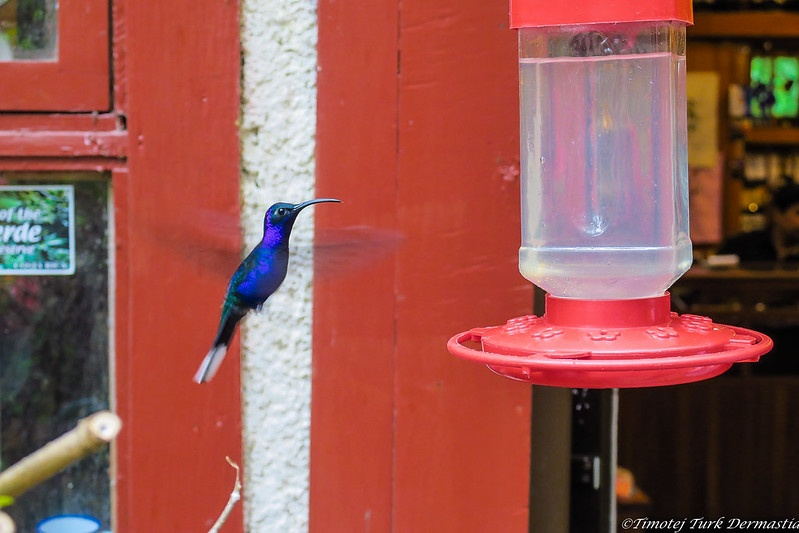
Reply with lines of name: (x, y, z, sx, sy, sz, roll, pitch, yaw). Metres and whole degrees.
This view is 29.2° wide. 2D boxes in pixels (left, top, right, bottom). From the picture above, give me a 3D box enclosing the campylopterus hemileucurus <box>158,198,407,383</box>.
campylopterus hemileucurus: (-0.381, 0.008, 5.190, 0.625, 0.454, 0.750, -9, -5, 22)
